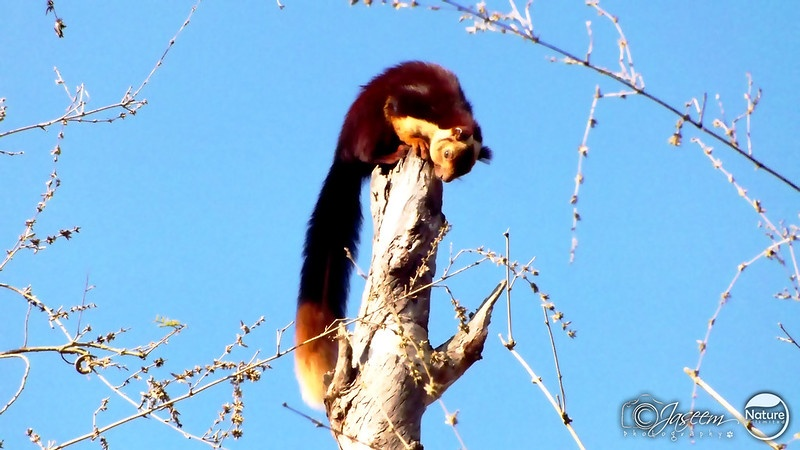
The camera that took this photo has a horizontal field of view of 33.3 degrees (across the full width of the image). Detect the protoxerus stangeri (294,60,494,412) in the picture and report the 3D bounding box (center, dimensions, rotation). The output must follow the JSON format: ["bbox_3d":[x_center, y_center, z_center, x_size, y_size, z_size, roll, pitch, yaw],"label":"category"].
[{"bbox_3d":[-0.057,0.190,9.775,1.018,0.714,2.789,40,-69,11],"label":"protoxerus stangeri"}]
